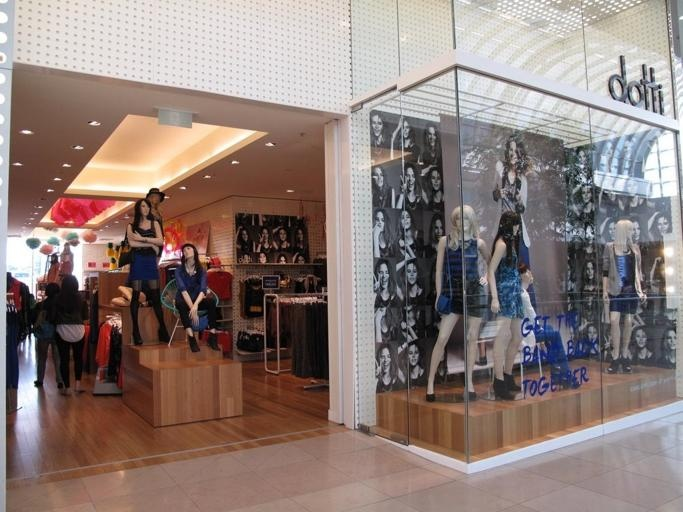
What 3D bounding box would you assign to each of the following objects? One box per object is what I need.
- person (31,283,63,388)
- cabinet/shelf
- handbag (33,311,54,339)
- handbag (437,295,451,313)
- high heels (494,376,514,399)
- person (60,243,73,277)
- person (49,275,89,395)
[{"bbox_3d":[-4.160,1.188,7.757,0.449,1.579,0.428,6,12,-25],"label":"person"},{"bbox_3d":[-2.241,1.327,7.039,0.958,1.454,1.830,0,2,-29],"label":"cabinet/shelf"},{"bbox_3d":[-4.175,0.983,7.596,0.353,0.491,0.238,2,-5,-39],"label":"handbag"},{"bbox_3d":[0.949,0.446,4.952,0.062,0.162,0.155,6,-3,-20],"label":"handbag"},{"bbox_3d":[1.486,1.218,4.876,0.257,0.214,0.101,3,-4,-23],"label":"high heels"},{"bbox_3d":[-5.462,0.066,10.725,0.217,0.737,0.931,-1,1,-28],"label":"person"},{"bbox_3d":[-3.939,1.128,7.771,0.540,1.741,0.472,-5,-6,33],"label":"person"}]
